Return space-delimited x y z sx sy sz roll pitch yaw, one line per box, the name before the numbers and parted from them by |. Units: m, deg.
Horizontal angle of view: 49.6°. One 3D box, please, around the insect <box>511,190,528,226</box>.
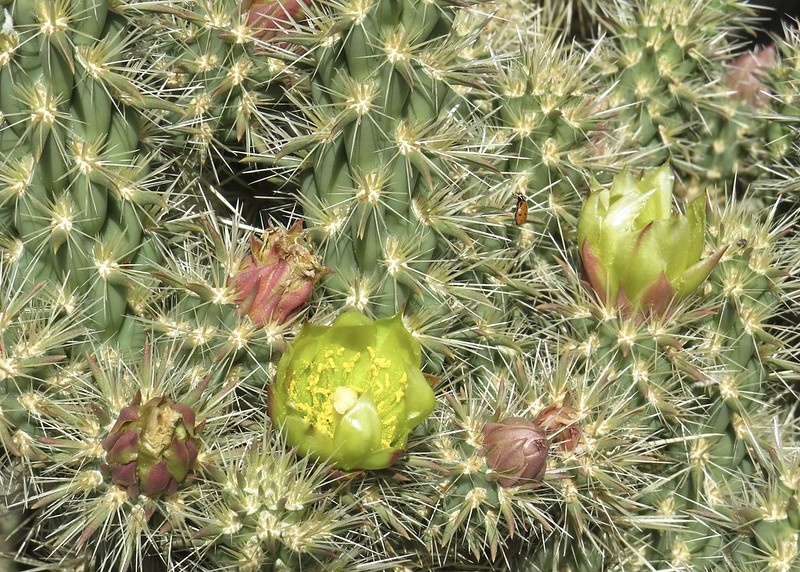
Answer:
insect | 0.217 -0.143 1.589 0.014 0.039 0.052 -2 81 21
